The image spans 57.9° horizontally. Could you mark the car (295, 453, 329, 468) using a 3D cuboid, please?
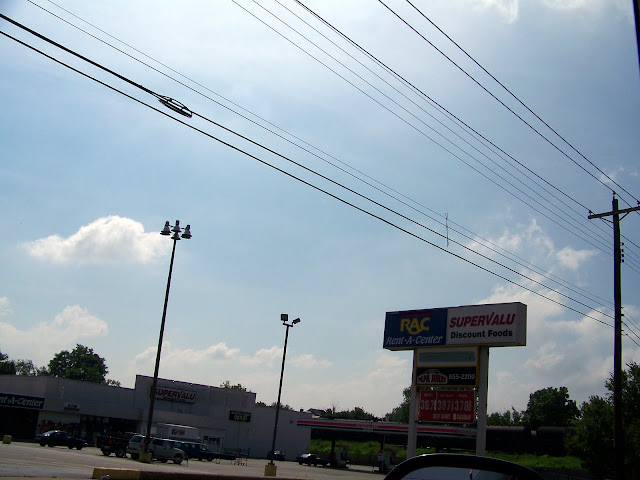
[{"bbox_3d":[-0.951,26.277,69.039,2.925,0.981,1.683,1,-7,-6],"label":"car"}]

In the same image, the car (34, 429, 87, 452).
[{"bbox_3d":[-21.855,16.791,48.838,3.727,1.349,1.690,5,-9,-25],"label":"car"}]
